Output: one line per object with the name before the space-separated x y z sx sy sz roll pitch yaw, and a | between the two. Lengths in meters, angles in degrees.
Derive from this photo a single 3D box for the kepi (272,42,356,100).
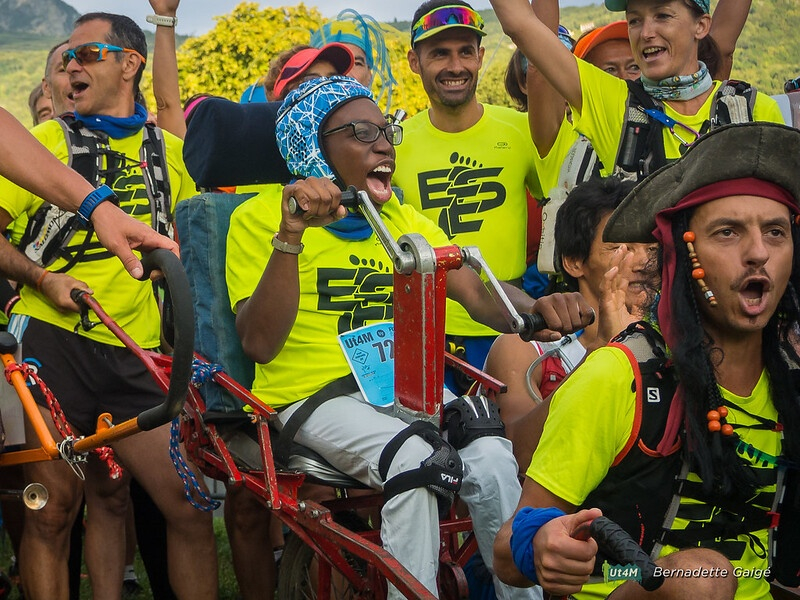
kepi | -0.549 -1.345 5.377 0.319 0.152 0.485 -39 5 -40

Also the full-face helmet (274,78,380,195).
full-face helmet | -0.292 -0.807 4.383 0.421 0.509 0.514 -11 13 -35

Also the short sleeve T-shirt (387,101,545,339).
short sleeve T-shirt | 0.422 -0.519 5.824 1.163 1.551 0.579 -4 35 9

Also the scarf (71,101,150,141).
scarf | -1.499 -0.938 4.980 0.230 0.107 0.195 -3 -8 -31

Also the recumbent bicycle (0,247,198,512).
recumbent bicycle | -1.204 0.281 3.875 0.506 0.895 1.362 -1 -3 -41

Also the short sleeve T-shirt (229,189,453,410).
short sleeve T-shirt | -0.293 0.028 4.057 0.964 0.904 0.472 -2 -1 -37

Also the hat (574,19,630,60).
hat | 1.334 -1.773 6.268 0.401 0.176 0.575 18 29 34

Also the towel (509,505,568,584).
towel | 0.448 0.735 3.015 0.187 0.089 0.157 -21 16 20

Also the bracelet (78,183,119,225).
bracelet | -1.204 -0.380 3.730 0.151 0.143 0.107 -2 -2 -20

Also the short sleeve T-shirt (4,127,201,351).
short sleeve T-shirt | -1.432 -0.276 4.422 0.522 1.059 0.970 0 -12 43

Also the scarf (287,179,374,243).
scarf | -0.299 -0.378 3.890 0.313 0.126 0.242 8 41 -17
